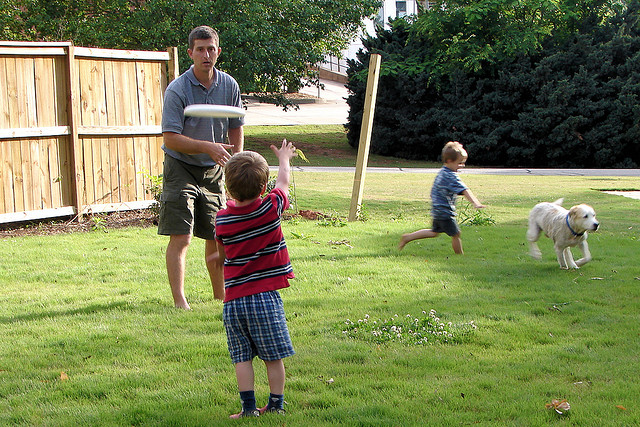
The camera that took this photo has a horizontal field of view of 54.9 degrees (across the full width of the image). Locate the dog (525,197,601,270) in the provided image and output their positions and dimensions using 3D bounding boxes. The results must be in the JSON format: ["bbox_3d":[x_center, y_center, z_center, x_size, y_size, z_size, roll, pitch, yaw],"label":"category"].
[{"bbox_3d":[3.476,0.296,8.765,0.429,0.956,1.081,-3,9,-22],"label":"dog"}]

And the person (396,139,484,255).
[{"bbox_3d":[1.829,-0.214,9.334,0.917,1.699,0.375,4,10,20],"label":"person"}]
